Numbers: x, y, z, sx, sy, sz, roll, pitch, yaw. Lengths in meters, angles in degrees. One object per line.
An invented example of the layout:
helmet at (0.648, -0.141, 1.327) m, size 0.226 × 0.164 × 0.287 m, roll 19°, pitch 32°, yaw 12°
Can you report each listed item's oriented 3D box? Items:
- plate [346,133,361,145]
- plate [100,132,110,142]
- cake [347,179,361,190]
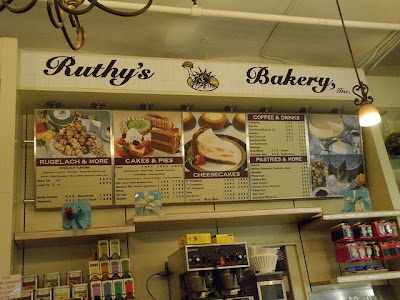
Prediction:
plate at (2.071, -0.150, 4.652) m, size 0.157 × 0.150 × 0.105 m, roll 3°, pitch -48°, yaw 4°
plate at (-1.102, -0.140, 4.036) m, size 0.105 × 0.106 × 0.043 m, roll 18°, pitch -51°, yaw -14°
cake at (2.015, 0.449, 4.506) m, size 0.175 × 0.132 × 0.030 m, roll -5°, pitch -21°, yaw -9°
